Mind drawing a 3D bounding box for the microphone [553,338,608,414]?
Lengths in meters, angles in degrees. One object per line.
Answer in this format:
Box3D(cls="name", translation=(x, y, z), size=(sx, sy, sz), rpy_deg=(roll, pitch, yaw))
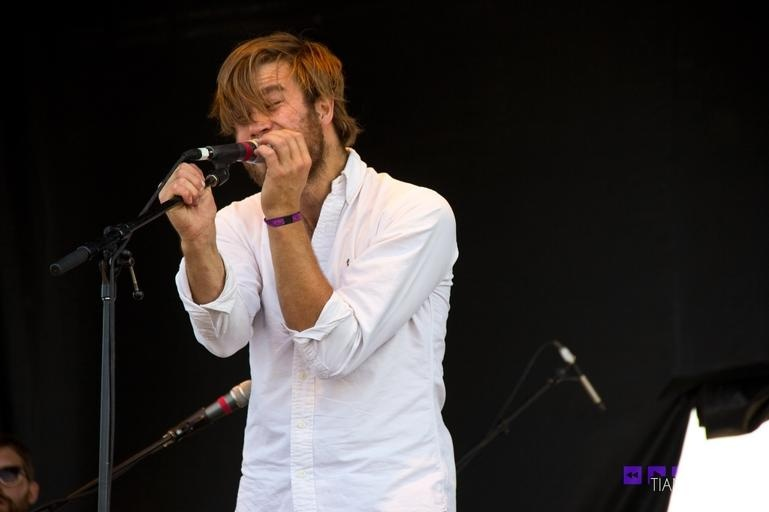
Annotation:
Box3D(cls="microphone", translation=(1.092, 0.686, 4.200), size=(0.088, 0.500, 0.107), rpy_deg=(-7, -45, -31))
